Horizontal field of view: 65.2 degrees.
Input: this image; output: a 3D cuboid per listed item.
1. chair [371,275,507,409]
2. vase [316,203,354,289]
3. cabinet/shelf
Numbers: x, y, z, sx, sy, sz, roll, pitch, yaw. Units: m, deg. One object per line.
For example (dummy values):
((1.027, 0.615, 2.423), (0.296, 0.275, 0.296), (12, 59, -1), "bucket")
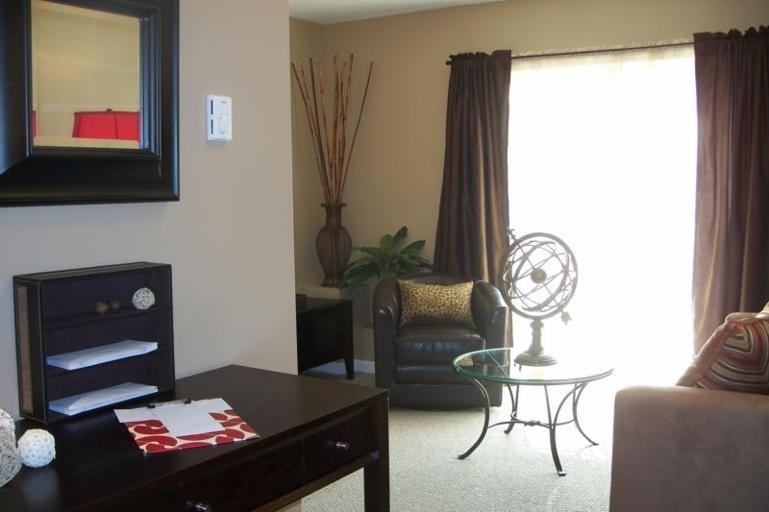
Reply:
((0.398, 0.634, 4.748), (0.971, 0.899, 0.938), (1, -4, 3), "chair")
((-0.468, -0.102, 5.520), (0.329, 0.740, 0.481), (1, 10, 5), "vase")
((-0.928, 0.276, 1.882), (0.149, 0.424, 0.458), (5, 7, 40), "cabinet/shelf")
